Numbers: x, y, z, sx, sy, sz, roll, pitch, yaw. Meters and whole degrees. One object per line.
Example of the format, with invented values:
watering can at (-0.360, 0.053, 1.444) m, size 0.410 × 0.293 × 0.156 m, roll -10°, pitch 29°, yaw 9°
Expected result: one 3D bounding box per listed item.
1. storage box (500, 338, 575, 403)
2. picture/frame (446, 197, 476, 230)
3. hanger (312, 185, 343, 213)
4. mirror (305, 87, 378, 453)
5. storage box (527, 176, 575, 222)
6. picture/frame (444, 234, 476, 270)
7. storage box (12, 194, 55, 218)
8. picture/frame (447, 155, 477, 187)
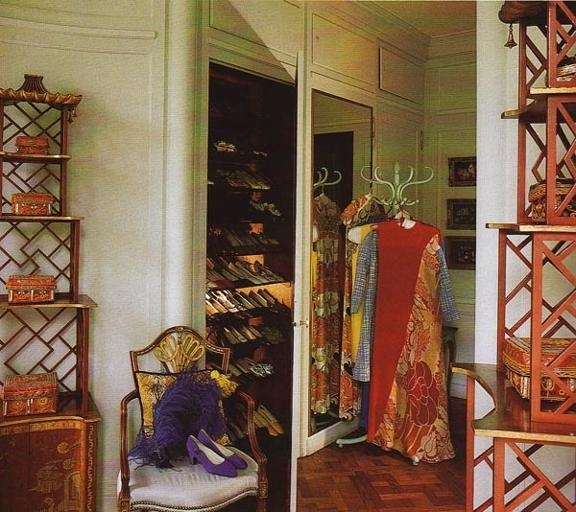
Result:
storage box at (0.690, 0.304, 1.774) m, size 0.199 × 0.093 × 0.226 m, roll -1°, pitch 2°, yaw 4°
picture/frame at (0.584, -0.148, 2.142) m, size 0.140 × 0.100 × 0.009 m, roll 3°, pitch 6°, yaw 35°
hanger at (0.153, -0.223, 2.526) m, size 0.107 × 0.100 × 0.148 m, roll -2°, pitch 1°, yaw 2°
mirror at (0.213, 0.048, 2.471) m, size 0.285 × 1.347 × 0.464 m, roll -3°, pitch 1°, yaw -22°
storage box at (0.721, -0.156, 1.757) m, size 0.150 × 0.097 × 0.141 m, roll 1°, pitch 1°, yaw 34°
picture/frame at (0.594, -0.019, 2.189) m, size 0.147 × 0.109 × 0.020 m, roll 6°, pitch 15°, yaw 42°
storage box at (-0.908, -0.184, 2.266) m, size 0.132 × 0.066 × 0.104 m, roll -1°, pitch 2°, yaw -44°
picture/frame at (0.580, -0.287, 2.116) m, size 0.143 × 0.099 × 0.011 m, roll 1°, pitch 1°, yaw 25°
